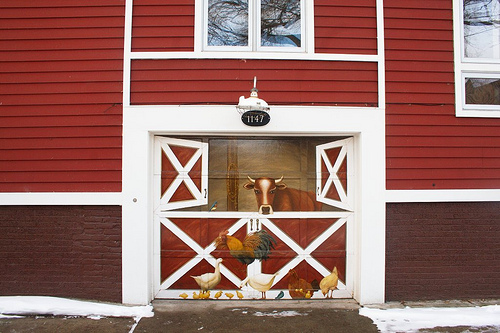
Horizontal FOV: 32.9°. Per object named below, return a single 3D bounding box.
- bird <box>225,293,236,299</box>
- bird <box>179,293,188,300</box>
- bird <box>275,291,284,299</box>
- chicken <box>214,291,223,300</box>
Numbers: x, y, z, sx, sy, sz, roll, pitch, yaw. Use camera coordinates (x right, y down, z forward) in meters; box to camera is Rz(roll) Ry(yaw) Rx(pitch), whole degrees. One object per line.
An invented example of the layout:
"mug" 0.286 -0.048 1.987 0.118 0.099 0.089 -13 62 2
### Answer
"bird" -0.361 2.483 16.022 0.174 0.105 0.089 8 -5 11
"bird" -1.263 2.496 16.078 0.177 0.117 0.045 4 -6 -7
"bird" 0.591 2.479 16.107 0.064 0.190 0.078 36 8 12
"chicken" -0.588 2.478 16.075 0.176 0.055 0.062 -40 11 0
